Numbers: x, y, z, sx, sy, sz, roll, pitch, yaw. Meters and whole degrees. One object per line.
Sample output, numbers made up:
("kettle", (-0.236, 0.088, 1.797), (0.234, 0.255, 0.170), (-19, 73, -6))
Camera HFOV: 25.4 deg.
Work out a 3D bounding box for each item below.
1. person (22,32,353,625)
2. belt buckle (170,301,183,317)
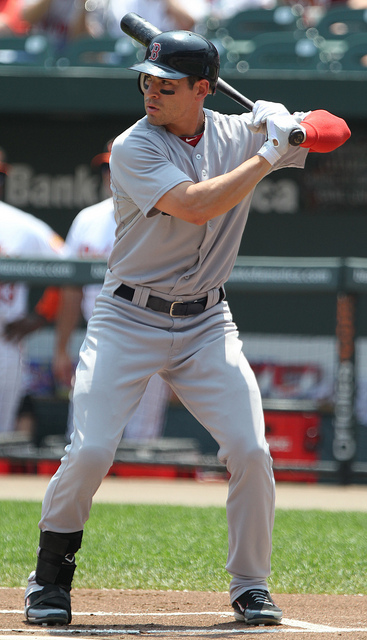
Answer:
("person", (-0.018, 0.016, 2.338), (0.864, 1.684, 0.455), (0, 5, -11))
("belt buckle", (-0.022, -0.034, 2.376), (0.041, 0.036, 0.012), (10, 10, 1))
